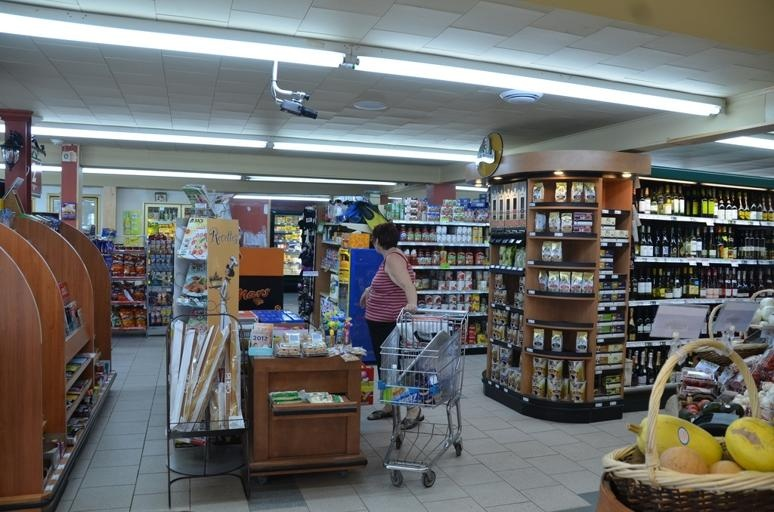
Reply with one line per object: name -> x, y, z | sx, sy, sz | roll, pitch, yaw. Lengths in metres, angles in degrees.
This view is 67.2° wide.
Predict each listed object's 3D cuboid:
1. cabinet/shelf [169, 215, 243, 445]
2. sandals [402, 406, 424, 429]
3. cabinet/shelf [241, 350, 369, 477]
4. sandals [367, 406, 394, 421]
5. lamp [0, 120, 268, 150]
cabinet/shelf -> -1.833, 0.816, 5.927 | 0.696, 2.344, 1.844 | -1, 8, -16
sandals -> 0.306, 1.870, 6.705 | 0.156, 0.166, 0.417 | -3, -7, 15
cabinet/shelf -> -0.866, 1.597, 5.977 | 1.237, 1.002, 1.145 | 5, -8, -26
sandals -> 0.012, 1.923, 7.142 | 0.462, 0.159, 0.162 | 3, -3, -19
lamp -> -4.415, -2.212, 10.818 | 3.974, 0.202, 0.724 | -1, 8, -13
